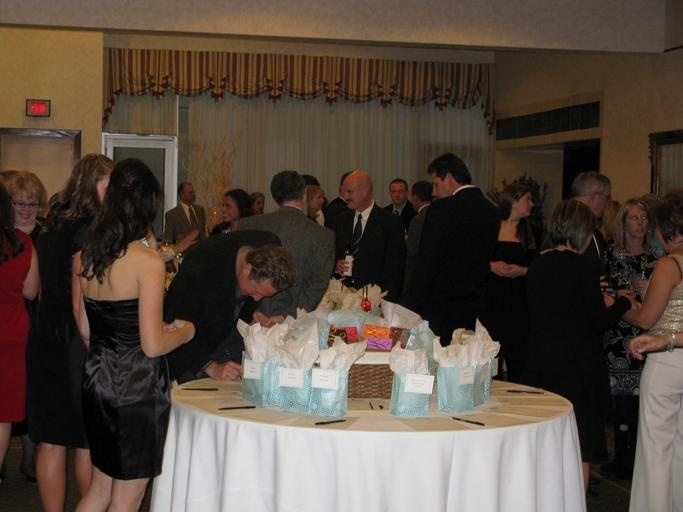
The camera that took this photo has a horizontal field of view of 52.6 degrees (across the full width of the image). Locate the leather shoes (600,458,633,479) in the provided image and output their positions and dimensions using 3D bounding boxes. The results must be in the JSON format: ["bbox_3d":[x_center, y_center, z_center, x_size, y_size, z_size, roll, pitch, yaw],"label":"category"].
[{"bbox_3d":[1.851,1.363,4.639,0.176,0.206,0.103,2,5,18],"label":"leather shoes"}]

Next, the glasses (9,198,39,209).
[{"bbox_3d":[-1.904,-0.322,4.154,0.148,0.055,0.069,-1,3,-28],"label":"glasses"}]

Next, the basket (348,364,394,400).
[{"bbox_3d":[0.125,0.547,3.079,0.145,0.113,0.159,-1,1,4],"label":"basket"}]
